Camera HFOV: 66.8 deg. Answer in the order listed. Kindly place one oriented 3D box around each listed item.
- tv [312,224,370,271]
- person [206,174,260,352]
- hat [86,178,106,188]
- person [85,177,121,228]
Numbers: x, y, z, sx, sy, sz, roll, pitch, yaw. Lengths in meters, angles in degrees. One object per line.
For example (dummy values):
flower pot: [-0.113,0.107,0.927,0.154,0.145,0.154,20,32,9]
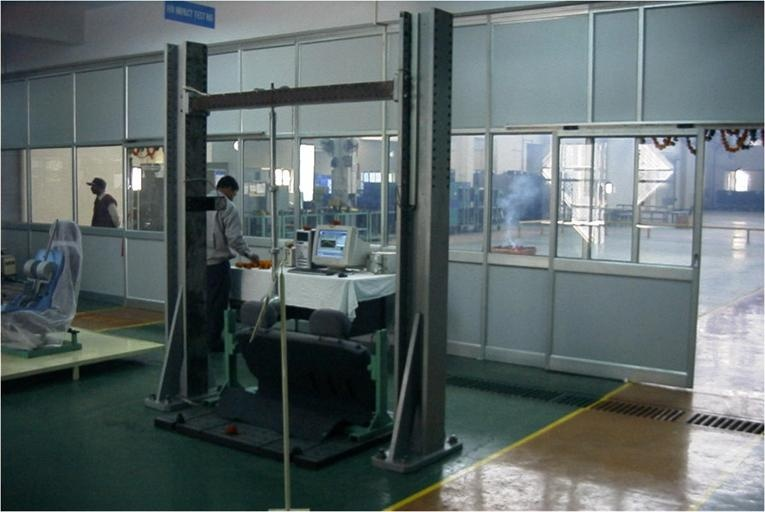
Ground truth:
tv: [-0.516,-0.124,7.665,0.596,0.535,0.624,0,3,38]
person: [-1.933,0.141,7.206,0.500,2.223,0.585,1,9,4]
hat: [-5.307,-1.361,10.706,0.332,0.168,0.205,14,6,8]
person: [-5.164,-0.970,10.725,0.840,0.904,0.253,5,10,28]
